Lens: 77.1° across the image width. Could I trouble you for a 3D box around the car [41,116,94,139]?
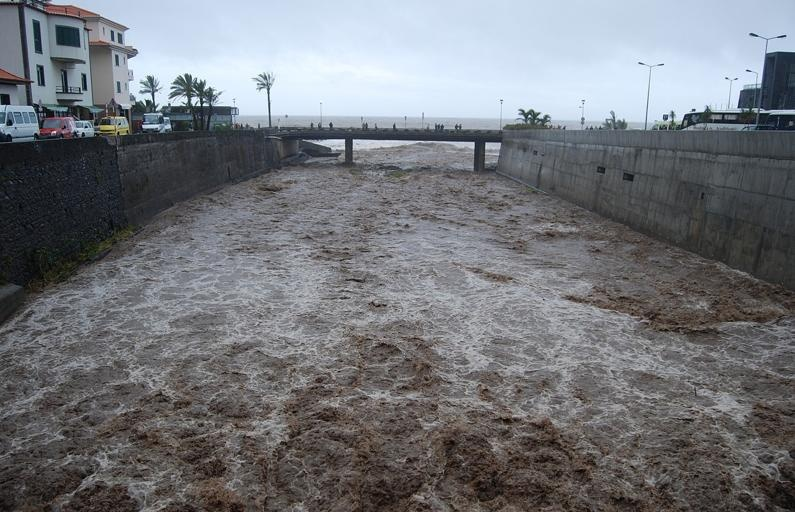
[{"bbox_3d":[-19.034,-7.406,28.823,2.451,1.204,6.366,-10,21,-29],"label":"car"}]
